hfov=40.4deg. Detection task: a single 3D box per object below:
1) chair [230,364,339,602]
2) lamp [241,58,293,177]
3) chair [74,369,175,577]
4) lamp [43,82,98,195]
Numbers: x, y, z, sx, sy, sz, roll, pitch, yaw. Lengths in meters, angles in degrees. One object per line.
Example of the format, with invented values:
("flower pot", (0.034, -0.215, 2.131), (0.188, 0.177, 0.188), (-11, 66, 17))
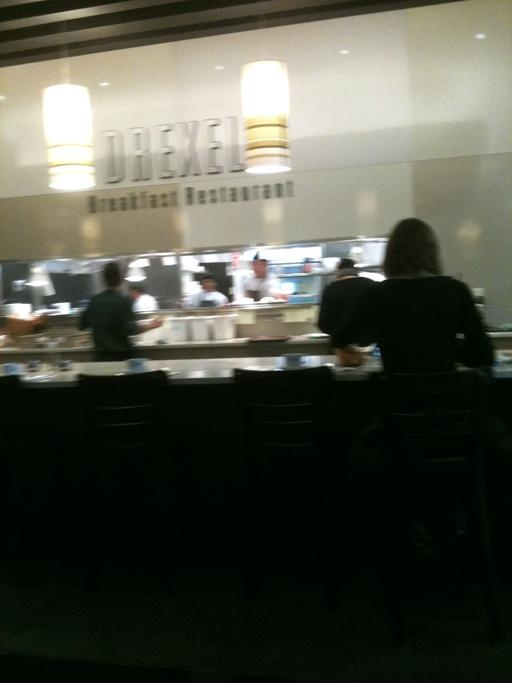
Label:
("chair", (0.124, 0.518, 2.799), (0.419, 0.920, 0.492), (-4, 10, 6))
("lamp", (0.039, -0.909, 2.834), (0.197, 0.411, 0.254), (-5, 10, 2))
("chair", (-0.566, 0.533, 3.000), (0.512, 0.886, 0.385), (-4, 9, 7))
("lamp", (-0.801, -0.876, 2.962), (0.201, 0.428, 0.225), (-8, 10, -16))
